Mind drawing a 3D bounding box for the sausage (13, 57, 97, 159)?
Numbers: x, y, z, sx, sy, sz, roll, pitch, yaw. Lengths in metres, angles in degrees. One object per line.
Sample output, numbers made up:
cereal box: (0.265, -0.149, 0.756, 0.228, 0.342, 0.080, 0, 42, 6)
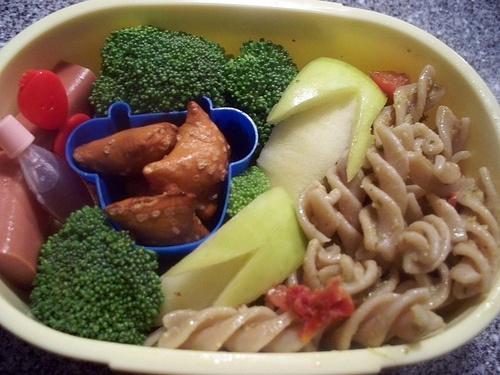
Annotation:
sausage: (-0.500, -0.194, 1.256, 0.163, 0.132, 0.239, 26, 69, -9)

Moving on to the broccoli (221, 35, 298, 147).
broccoli: (0.017, -0.250, 1.326, 0.251, 0.088, 0.259, 2, 88, 13)

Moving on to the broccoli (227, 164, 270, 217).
broccoli: (-0.019, 0.004, 1.311, 0.055, 0.109, 0.153, 65, 28, -22)

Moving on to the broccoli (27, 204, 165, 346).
broccoli: (-0.353, 0.210, 1.180, 0.311, 0.076, 0.294, 20, 83, 2)

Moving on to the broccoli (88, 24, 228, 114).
broccoli: (-0.242, -0.307, 1.296, 0.352, 0.069, 0.218, -3, 83, -1)
